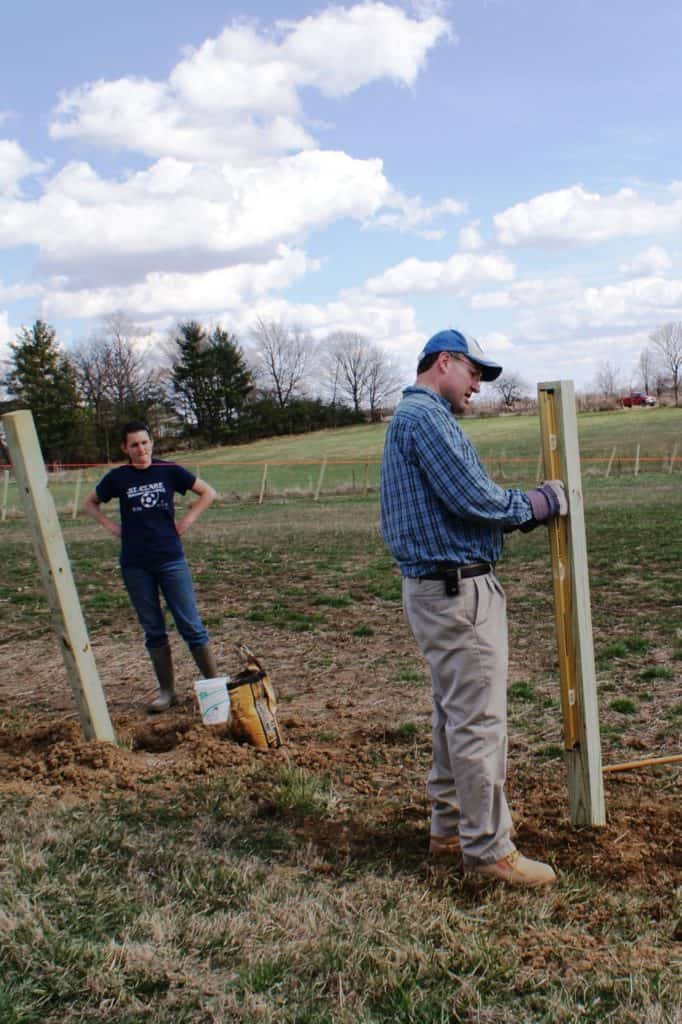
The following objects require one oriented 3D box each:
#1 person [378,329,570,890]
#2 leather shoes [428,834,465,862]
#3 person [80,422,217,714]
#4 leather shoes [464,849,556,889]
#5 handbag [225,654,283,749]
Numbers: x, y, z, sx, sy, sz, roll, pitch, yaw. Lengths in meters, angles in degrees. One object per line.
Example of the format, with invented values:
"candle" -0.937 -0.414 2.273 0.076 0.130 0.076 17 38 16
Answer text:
"person" 0.549 0.349 3.657 0.845 2.102 0.823 1 -1 -36
"leather shoes" 0.426 1.378 3.613 0.132 0.113 0.074 -2 4 -6
"person" -1.246 0.386 6.103 0.853 1.976 1.213 -10 9 -11
"leather shoes" 0.625 1.354 3.389 0.366 0.127 0.126 1 5 -1
"handbag" -0.525 1.075 5.120 0.269 0.565 0.352 -10 9 -8
